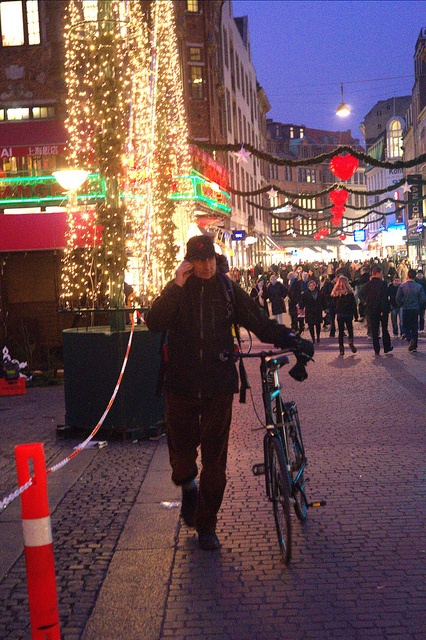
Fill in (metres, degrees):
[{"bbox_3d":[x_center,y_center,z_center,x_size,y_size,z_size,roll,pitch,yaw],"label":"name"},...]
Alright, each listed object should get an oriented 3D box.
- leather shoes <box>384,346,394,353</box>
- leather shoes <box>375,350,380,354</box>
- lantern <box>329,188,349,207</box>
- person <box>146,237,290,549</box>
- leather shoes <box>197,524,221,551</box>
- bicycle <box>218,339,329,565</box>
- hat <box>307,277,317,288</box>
[{"bbox_3d":[4.504,0.760,13.784,0.191,0.259,0.135,2,-2,-20],"label":"leather shoes"},{"bbox_3d":[4.214,0.831,13.772,0.083,0.117,0.275,-2,-1,33],"label":"leather shoes"},{"bbox_3d":[7.453,-7.188,31.722,1.014,1.514,0.955,0,0,11],"label":"lantern"},{"bbox_3d":[-0.043,0.510,3.377,0.603,2.161,0.944,-9,20,-32],"label":"person"},{"bbox_3d":[-0.025,1.348,3.329,0.145,0.123,0.157,-2,-1,2],"label":"leather shoes"},{"bbox_3d":[0.406,0.773,3.257,0.418,0.996,1.283,-4,-5,5],"label":"bicycle"},{"bbox_3d":[3.170,-1.191,17.309,0.389,0.146,0.427,-5,13,39],"label":"hat"}]
